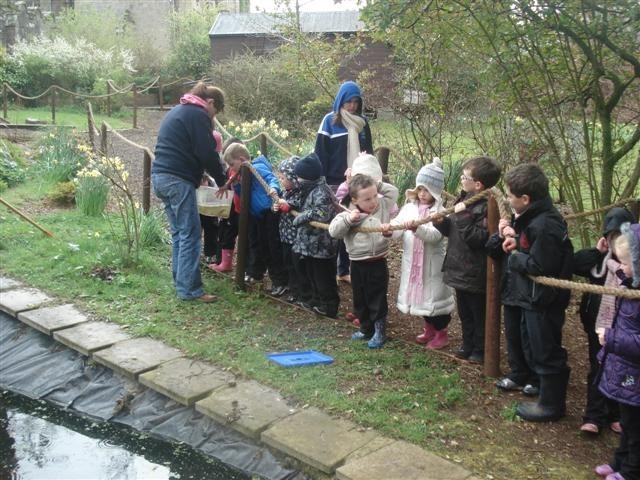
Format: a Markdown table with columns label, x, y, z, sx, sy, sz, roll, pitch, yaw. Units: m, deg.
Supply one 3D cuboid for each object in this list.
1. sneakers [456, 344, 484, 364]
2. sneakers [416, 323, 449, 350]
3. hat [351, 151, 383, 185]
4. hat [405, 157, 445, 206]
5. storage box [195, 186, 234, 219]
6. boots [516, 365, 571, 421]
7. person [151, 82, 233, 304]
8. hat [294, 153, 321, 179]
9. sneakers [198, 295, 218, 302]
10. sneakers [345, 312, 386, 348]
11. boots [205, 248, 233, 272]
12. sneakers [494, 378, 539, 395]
| label | x | y | z | sx | sy | sz | roll | pitch | yaw |
| --- | --- | --- | --- | --- | --- | --- | --- | --- | --- |
| sneakers | 1.304 | 1.011 | 5.722 | 0.092 | 0.117 | 0.279 | -4 | 13 | -31 |
| sneakers | 1.034 | 0.906 | 5.976 | 0.148 | 0.250 | 0.371 | 1 | 1 | 41 |
| hat | 0.443 | -0.663 | 6.129 | 0.332 | 0.292 | 0.241 | -9 | 11 | -43 |
| hat | 0.975 | -0.537 | 5.823 | 0.366 | 0.416 | 0.254 | 18 | 29 | 38 |
| storage box | -1.185 | -0.401 | 7.448 | 0.470 | 0.302 | 0.279 | 13 | 6 | 40 |
| boots | 1.721 | 1.182 | 5.093 | 0.524 | 0.495 | 0.257 | 1 | 9 | 19 |
| person | -1.381 | -0.509 | 6.909 | 0.776 | 2.324 | 0.528 | -2 | 8 | -15 |
| hat | -0.114 | -0.683 | 6.456 | 0.260 | 0.188 | 0.251 | 0 | 38 | -38 |
| sneakers | -1.187 | 0.626 | 6.895 | 0.183 | 0.074 | 0.073 | -4 | 2 | 11 |
| sneakers | 0.391 | 0.891 | 6.038 | 0.420 | 0.268 | 0.160 | 8 | -5 | -17 |
| boots | -1.211 | 0.265 | 7.792 | 0.354 | 0.324 | 0.189 | 5 | 8 | -10 |
| sneakers | 1.577 | 1.185 | 5.262 | 0.329 | 0.136 | 0.115 | 10 | 12 | 12 |
